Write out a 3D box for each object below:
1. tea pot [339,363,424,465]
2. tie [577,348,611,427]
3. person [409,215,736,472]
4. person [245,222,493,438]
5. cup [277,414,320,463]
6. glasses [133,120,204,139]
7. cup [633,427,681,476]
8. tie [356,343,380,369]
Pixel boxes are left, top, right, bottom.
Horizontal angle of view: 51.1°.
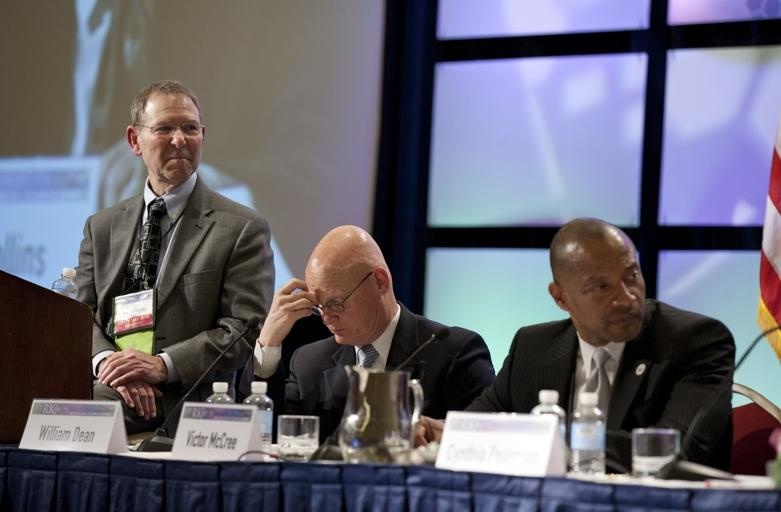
[{"bbox_3d":[-0.032,0.545,2.696,0.251,0.329,0.228,9,-11,-36],"label":"tea pot"},{"bbox_3d":[0.878,0.501,3.423,0.095,0.096,0.343,-9,-53,20],"label":"tie"},{"bbox_3d":[0.900,0.380,3.341,0.887,0.836,1.279,-4,-14,26],"label":"person"},{"bbox_3d":[-0.076,0.347,3.806,0.793,1.227,0.597,-19,-20,38],"label":"person"},{"bbox_3d":[-0.335,0.653,2.942,0.134,0.136,0.139,0,-8,0],"label":"cup"},{"bbox_3d":[-1.129,-0.667,4.269,0.155,0.043,0.156,1,-9,-27],"label":"glasses"},{"bbox_3d":[0.795,0.583,2.492,0.140,0.159,0.138,1,-4,0],"label":"cup"},{"bbox_3d":[-0.113,0.454,3.729,0.081,0.113,0.048,-7,-6,33],"label":"tie"}]
